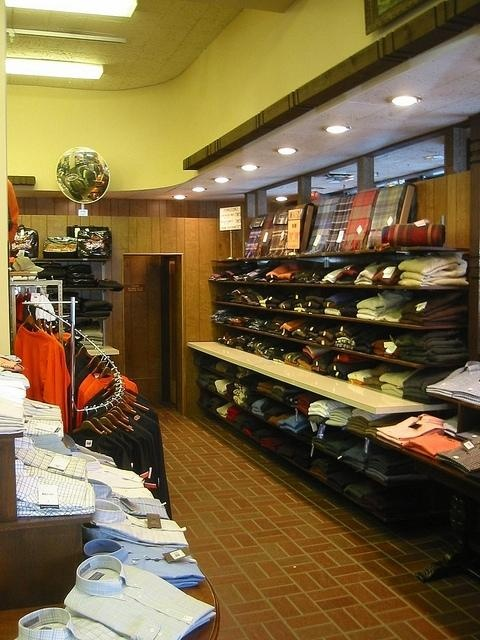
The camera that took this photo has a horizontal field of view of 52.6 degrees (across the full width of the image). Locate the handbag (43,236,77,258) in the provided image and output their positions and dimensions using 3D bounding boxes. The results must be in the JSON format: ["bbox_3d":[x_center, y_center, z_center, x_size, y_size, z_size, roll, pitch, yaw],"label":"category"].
[{"bbox_3d":[-2.441,-0.917,6.594,0.308,0.248,0.401,0,1,37],"label":"handbag"}]

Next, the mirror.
[{"bbox_3d":[-1.980,-1.836,6.142,0.614,0.647,0.302,0,6,-17],"label":"mirror"}]

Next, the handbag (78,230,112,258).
[{"bbox_3d":[-1.995,-1.062,6.675,0.450,0.382,0.102,3,-3,-17],"label":"handbag"}]

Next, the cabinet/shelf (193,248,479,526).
[{"bbox_3d":[0.837,0.626,4.280,0.821,1.434,2.664,2,2,-21],"label":"cabinet/shelf"}]

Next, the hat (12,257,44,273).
[{"bbox_3d":[-1.536,-0.381,3.485,0.223,0.090,0.151,3,6,23],"label":"hat"}]

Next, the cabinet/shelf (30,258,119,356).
[{"bbox_3d":[-2.517,-0.271,6.830,1.288,1.065,0.998,19,-4,-42],"label":"cabinet/shelf"}]

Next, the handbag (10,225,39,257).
[{"bbox_3d":[-2.911,-1.068,6.613,0.326,0.449,0.475,0,6,-22],"label":"handbag"}]
